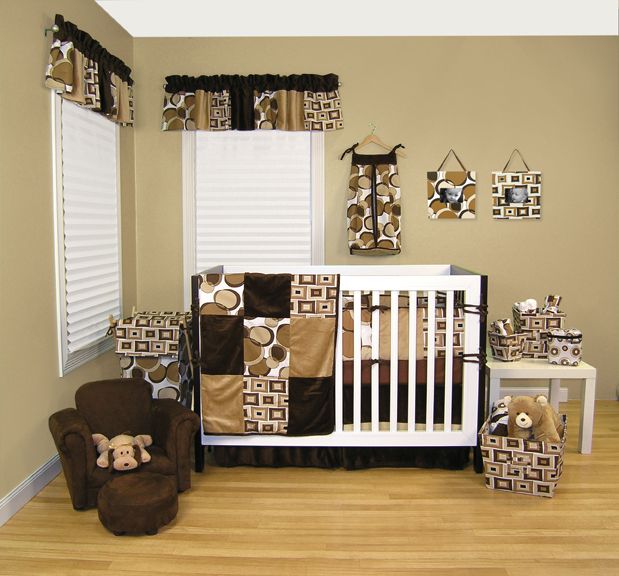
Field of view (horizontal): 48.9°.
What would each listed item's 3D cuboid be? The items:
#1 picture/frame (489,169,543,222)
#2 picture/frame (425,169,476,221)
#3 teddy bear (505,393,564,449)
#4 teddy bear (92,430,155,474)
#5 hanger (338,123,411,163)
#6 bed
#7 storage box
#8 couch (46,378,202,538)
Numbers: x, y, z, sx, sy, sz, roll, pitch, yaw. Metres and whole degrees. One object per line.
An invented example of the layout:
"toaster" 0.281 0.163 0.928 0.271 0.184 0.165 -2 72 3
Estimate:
"picture/frame" 1.381 -0.634 4.549 0.278 0.318 0.025 0 2 1
"picture/frame" 0.935 -0.637 4.550 0.274 0.309 0.033 0 1 0
"teddy bear" 1.135 0.639 3.425 0.266 0.262 0.381 -1 7 38
"teddy bear" -0.875 0.759 3.214 0.274 0.122 0.276 -4 14 -17
"hanger" 0.414 -0.924 4.518 0.427 0.213 0.104 2 13 7
"bed" 0.154 0.300 3.838 1.507 1.171 1.021 -1 22 -4
"storage box" 1.025 0.748 3.315 0.352 0.303 0.373 1 5 21
"couch" -0.839 0.767 3.200 0.711 0.483 0.604 13 18 43
